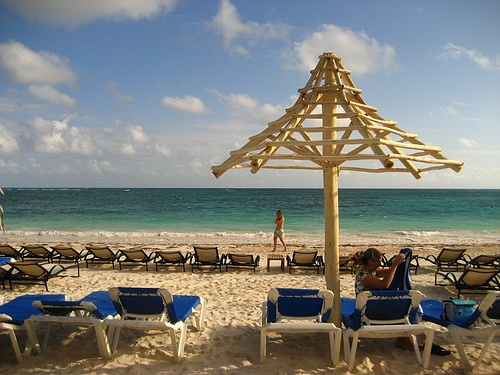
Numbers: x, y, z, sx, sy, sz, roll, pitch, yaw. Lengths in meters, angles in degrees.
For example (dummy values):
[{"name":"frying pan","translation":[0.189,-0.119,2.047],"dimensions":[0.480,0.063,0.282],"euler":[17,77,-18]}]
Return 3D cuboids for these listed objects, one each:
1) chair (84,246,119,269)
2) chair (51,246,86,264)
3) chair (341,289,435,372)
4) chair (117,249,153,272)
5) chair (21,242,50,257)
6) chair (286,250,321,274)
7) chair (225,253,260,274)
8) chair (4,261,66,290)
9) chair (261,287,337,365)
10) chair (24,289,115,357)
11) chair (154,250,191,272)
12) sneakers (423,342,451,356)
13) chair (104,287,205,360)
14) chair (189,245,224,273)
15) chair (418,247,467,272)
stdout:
[{"name":"chair","translation":[-4.558,2.106,12.174],"dimensions":[0.661,0.390,1.113],"euler":[1,-4,-8]},{"name":"chair","translation":[-5.446,2.030,12.116],"dimensions":[0.754,0.374,1.065],"euler":[2,-2,-3]},{"name":"chair","translation":[2.213,2.177,6.464],"dimensions":[1.379,1.273,0.970],"euler":[2,9,8]},{"name":"chair","translation":[-3.482,2.144,11.998],"dimensions":[1.106,0.645,0.941],"euler":[0,8,0]},{"name":"chair","translation":[-6.678,2.015,12.598],"dimensions":[0.586,0.311,0.850],"euler":[1,-1,-6]},{"name":"chair","translation":[1.644,2.196,11.768],"dimensions":[1.056,0.727,0.835],"euler":[1,8,2]},{"name":"chair","translation":[-0.253,2.215,11.812],"dimensions":[1.016,0.561,0.807],"euler":[1,8,4]},{"name":"chair","translation":[-5.323,2.082,9.674],"dimensions":[1.163,0.775,0.902],"euler":[2,9,10]},{"name":"chair","translation":[0.799,2.053,6.356],"dimensions":[1.027,0.755,1.510],"euler":[0,-4,3]},{"name":"chair","translation":[-2.773,2.165,6.413],"dimensions":[0.895,0.520,1.616],"euler":[2,-7,-2]},{"name":"chair","translation":[-2.337,2.182,11.867],"dimensions":[0.976,0.651,0.944],"euler":[-1,8,-12]},{"name":"sneakers","translation":[3.206,2.691,6.620],"dimensions":[0.597,0.138,0.207],"euler":[0,11,13]},{"name":"chair","translation":[-1.566,2.085,6.724],"dimensions":[1.006,0.698,1.630],"euler":[0,-6,9]},{"name":"chair","translation":[-1.274,2.084,11.852],"dimensions":[0.941,0.809,0.876],"euler":[0,9,-5]},{"name":"chair","translation":[6.095,2.237,12.410],"dimensions":[0.877,0.577,1.494],"euler":[-3,-4,6]}]
